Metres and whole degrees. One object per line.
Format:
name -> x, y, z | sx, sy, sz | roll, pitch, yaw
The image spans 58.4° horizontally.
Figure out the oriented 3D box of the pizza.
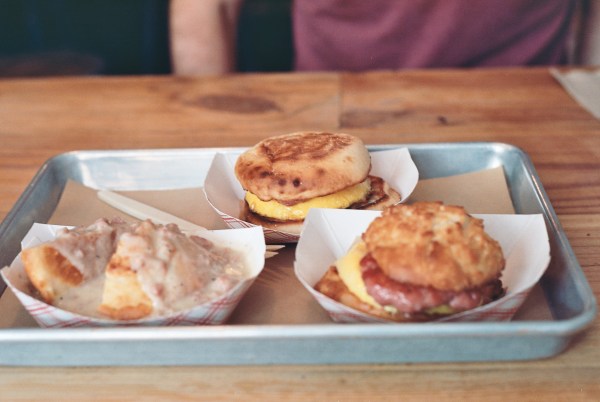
pizza -> -0.410, 0.095, 1.420 | 0.386, 0.114, 0.348 | 15, 17, 22
